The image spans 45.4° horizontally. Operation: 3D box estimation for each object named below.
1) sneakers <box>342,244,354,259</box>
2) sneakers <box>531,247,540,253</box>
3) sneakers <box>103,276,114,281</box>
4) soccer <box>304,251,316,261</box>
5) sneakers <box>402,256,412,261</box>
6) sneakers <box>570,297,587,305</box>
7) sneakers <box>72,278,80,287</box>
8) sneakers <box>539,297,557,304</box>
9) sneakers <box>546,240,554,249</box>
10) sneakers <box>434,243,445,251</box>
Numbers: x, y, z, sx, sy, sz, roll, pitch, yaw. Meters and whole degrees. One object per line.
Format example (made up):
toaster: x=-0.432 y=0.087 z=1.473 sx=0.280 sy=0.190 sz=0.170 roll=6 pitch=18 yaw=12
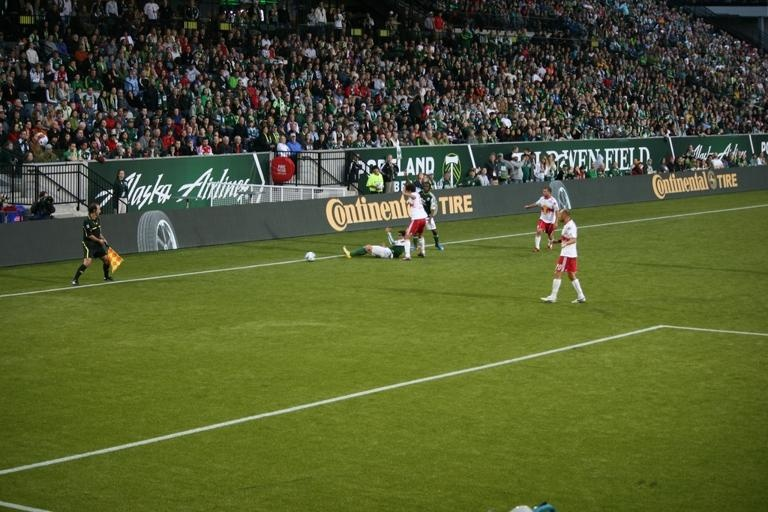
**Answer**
sneakers: x=-1.126 y=-0.170 z=28.411 sx=0.221 sy=0.490 sz=0.168 roll=-11 pitch=28 yaw=15
sneakers: x=4.906 y=-0.279 z=29.465 sx=0.196 sy=0.186 sz=0.467 roll=-3 pitch=-3 yaw=14
sneakers: x=-7.458 y=0.558 z=24.833 sx=0.294 sy=0.122 sz=0.106 roll=0 pitch=4 yaw=28
soccer: x=-2.222 y=-0.054 z=27.597 sx=0.270 sy=0.247 sz=0.348 roll=6 pitch=-2 yaw=1
sneakers: x=0.688 y=0.010 z=27.816 sx=0.282 sy=0.114 sz=0.101 roll=4 pitch=24 yaw=17
sneakers: x=4.684 y=1.041 z=22.154 sx=0.420 sy=0.189 sz=0.143 roll=1 pitch=11 yaw=34
sneakers: x=-8.171 y=0.608 z=24.260 sx=0.208 sy=0.249 sz=0.612 roll=-5 pitch=14 yaw=-18
sneakers: x=3.968 y=1.023 z=22.057 sx=0.374 sy=0.168 sz=0.133 roll=3 pitch=5 yaw=15
sneakers: x=5.466 y=-0.466 z=30.035 sx=0.292 sy=0.138 sz=0.502 roll=0 pitch=7 yaw=14
sneakers: x=1.872 y=-0.387 z=29.975 sx=0.367 sy=0.237 sz=0.125 roll=-8 pitch=21 yaw=-18
